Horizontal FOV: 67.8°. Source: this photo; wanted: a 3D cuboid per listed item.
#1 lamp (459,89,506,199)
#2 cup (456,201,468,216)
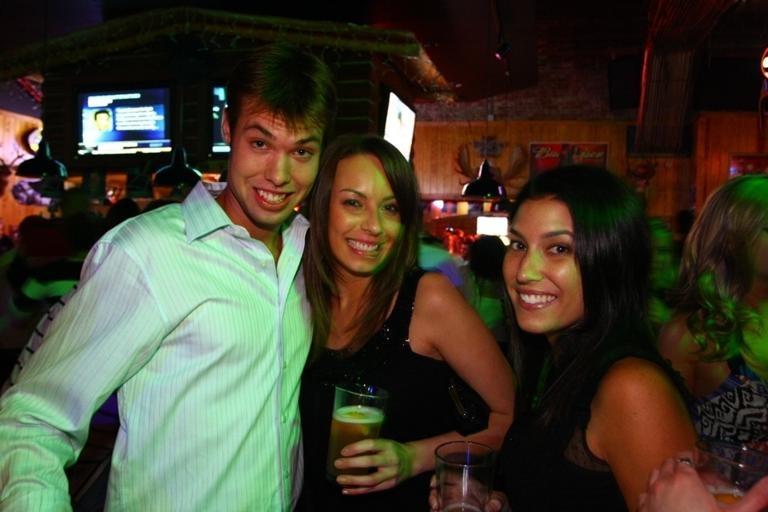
[{"bbox_3d":[1.475,-1.412,8.354,0.660,1.023,0.668,6,20,20],"label":"lamp"},{"bbox_3d":[1.536,-0.926,11.238,0.279,0.271,0.259,0,-7,0],"label":"cup"}]
